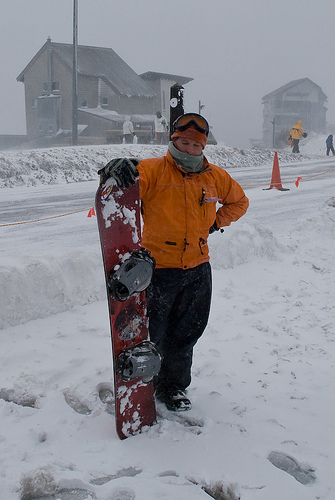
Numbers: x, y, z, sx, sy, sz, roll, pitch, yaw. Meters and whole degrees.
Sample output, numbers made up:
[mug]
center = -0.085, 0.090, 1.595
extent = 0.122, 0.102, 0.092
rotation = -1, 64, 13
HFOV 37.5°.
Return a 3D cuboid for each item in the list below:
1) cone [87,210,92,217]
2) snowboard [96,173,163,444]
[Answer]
[cone]
center = -1.408, -0.662, 8.928
extent = 0.082, 0.093, 0.327
rotation = -1, 12, -9
[snowboard]
center = -0.150, 0.282, 2.719
extent = 0.397, 1.393, 0.413
rotation = -8, 4, -34
